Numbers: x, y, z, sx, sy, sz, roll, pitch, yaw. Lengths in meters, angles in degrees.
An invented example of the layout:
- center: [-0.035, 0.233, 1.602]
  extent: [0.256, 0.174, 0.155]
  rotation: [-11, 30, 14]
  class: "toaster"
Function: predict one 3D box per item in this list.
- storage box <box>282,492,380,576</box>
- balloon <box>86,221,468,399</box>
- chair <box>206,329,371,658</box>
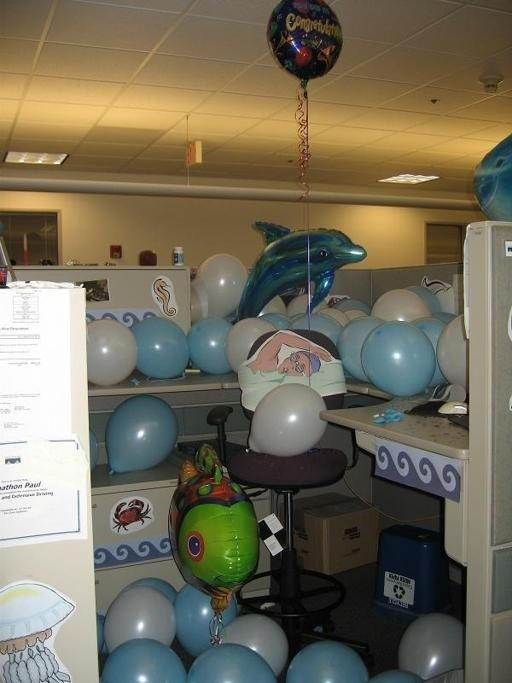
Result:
- center: [0.409, 1.050, 2.915]
  extent: [0.565, 0.263, 0.567]
  rotation: [-2, -3, 22]
  class: "storage box"
- center: [0.146, -0.184, 2.462]
  extent: [1.176, 0.454, 1.139]
  rotation: [2, -2, -29]
  class: "balloon"
- center: [0.113, 0.587, 1.901]
  extent: [0.657, 1.200, 0.632]
  rotation: [2, 3, 14]
  class: "chair"
